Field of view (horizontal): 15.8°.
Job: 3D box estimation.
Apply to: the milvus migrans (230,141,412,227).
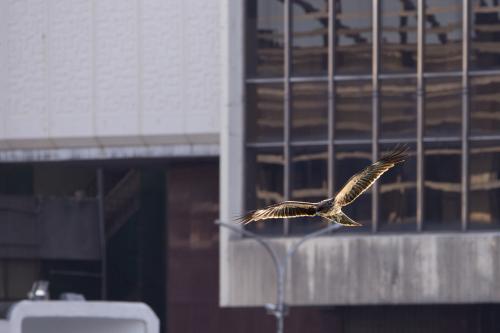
[{"bbox_3d":[2.160,0.667,56.285,5.927,2.830,3.709,-4,-9,18],"label":"milvus migrans"}]
